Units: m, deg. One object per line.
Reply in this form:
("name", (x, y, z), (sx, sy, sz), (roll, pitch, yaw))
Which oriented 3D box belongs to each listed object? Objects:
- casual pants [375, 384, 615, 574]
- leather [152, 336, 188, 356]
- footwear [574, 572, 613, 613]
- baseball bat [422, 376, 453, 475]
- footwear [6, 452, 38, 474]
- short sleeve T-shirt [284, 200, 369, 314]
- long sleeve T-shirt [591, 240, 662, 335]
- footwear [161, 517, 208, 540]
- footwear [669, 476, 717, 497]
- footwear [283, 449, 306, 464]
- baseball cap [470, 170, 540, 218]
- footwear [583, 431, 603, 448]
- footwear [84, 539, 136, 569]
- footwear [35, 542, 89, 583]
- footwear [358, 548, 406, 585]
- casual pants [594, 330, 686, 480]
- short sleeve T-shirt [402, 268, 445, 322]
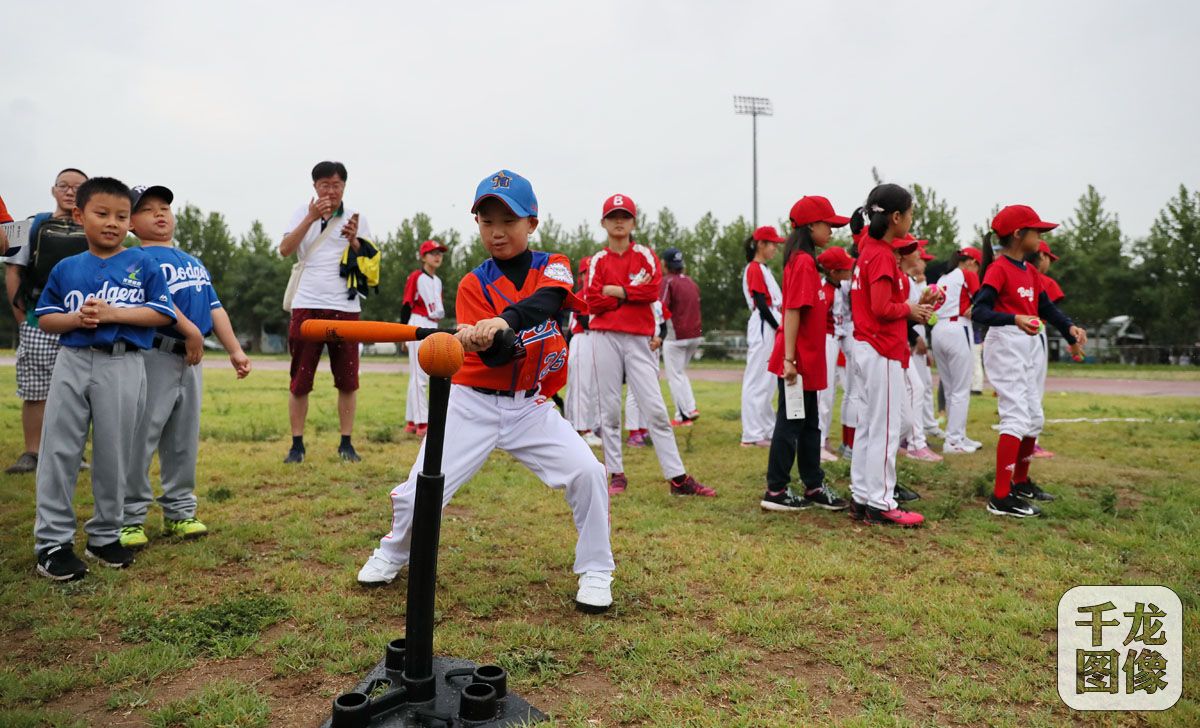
("casual pants", (-0.686, 0.713, 6.814), (1.857, 1.639, 0.811), (2, -2, 15))
("leather", (-3.409, -0.143, 7.310), (0.185, 0.075, 0.134), (19, -6, 7))
("footwear", (-0.027, 1.640, 6.688), (0.291, 0.258, 0.223), (1, 2, -17))
("baseball bat", (-0.962, 0.363, 5.419), (0.135, 0.582, 0.107), (2, 2, -3))
("footwear", (-5.507, 0.954, 8.828), (0.267, 0.206, 0.499), (1, -2, -15))
("short sleeve T-shirt", (-2.810, -1.050, 9.570), (0.896, 1.049, 0.563), (1, 1, 3))
("long sleeve T-shirt", (0.219, -0.709, 8.937), (0.767, 0.893, 0.508), (-5, 7, -1))
("footwear", (-3.358, 1.345, 7.496), (0.339, 0.148, 0.155), (-2, -3, 18))
("footwear", (0.912, 1.175, 8.811), (0.486, 0.198, 0.175), (1, -2, -2))
("footwear", (-3.093, 0.938, 9.383), (0.178, 0.114, 0.219), (1, 2, -10))
("baseball cap", (-0.654, -1.180, 6.447), (0.442, 0.319, 0.611), (11, 3, 7))
("footwear", (-0.079, 0.904, 11.039), (0.182, 0.137, 0.323), (-4, 7, -35))
("footwear", (-3.754, 1.443, 7.066), (0.417, 0.177, 0.153), (8, 1, 10))
("footwear", (-3.954, 1.460, 6.791), (0.359, 0.241, 0.170), (1, 2, -14))
("footwear", (-1.568, 1.529, 6.915), (0.173, 0.195, 0.452), (-1, -5, 27))
("casual pants", (0.366, 0.362, 8.929), (0.874, 0.461, 1.917), (0, 45, -4))
("short sleeve T-shirt", (-2.162, -0.843, 11.534), (0.362, 0.665, 0.656), (-4, -8, 34))
